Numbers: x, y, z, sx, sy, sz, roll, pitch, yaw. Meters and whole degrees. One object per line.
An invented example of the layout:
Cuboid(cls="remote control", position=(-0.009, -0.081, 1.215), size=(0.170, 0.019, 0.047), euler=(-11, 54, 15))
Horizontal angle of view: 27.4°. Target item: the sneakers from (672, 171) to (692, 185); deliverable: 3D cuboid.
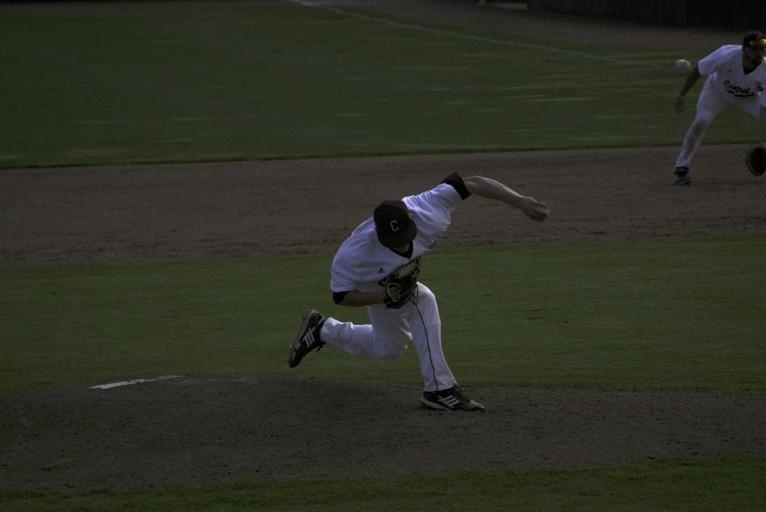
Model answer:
Cuboid(cls="sneakers", position=(4.660, -1.249, 24.560), size=(0.333, 0.243, 0.226), euler=(1, 19, 10))

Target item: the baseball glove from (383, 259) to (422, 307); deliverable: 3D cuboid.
Cuboid(cls="baseball glove", position=(0.225, 0.334, 20.312), size=(0.334, 0.604, 0.453), euler=(30, 6, -21))

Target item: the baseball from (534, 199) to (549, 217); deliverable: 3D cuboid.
Cuboid(cls="baseball", position=(2.044, -0.621, 20.383), size=(0.147, 0.212, 0.197), euler=(4, 18, 4))
